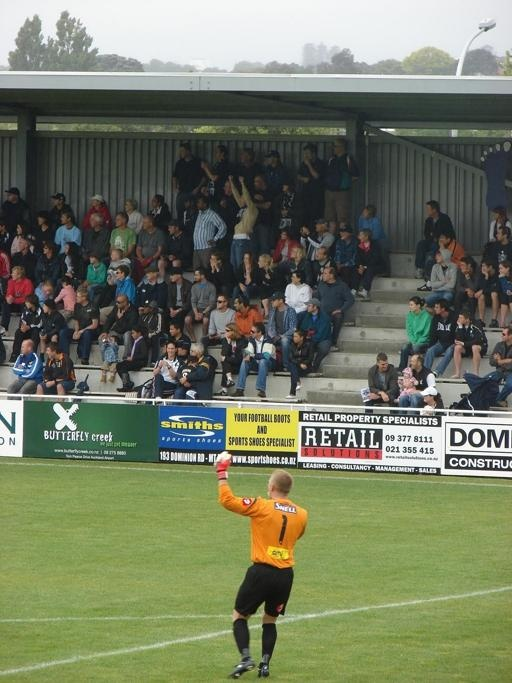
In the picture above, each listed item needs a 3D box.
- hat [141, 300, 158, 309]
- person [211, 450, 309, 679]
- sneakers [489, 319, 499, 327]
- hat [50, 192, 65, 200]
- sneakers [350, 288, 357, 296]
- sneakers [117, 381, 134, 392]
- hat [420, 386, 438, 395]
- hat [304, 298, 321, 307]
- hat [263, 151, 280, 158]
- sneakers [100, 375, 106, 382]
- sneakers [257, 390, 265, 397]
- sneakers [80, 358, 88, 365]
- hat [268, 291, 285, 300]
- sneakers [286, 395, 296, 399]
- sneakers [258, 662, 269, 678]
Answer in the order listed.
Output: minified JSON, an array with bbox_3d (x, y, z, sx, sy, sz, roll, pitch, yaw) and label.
[{"bbox_3d":[-1.810,-0.649,28.563,0.158,0.082,0.222,6,2,-34],"label":"hat"},{"bbox_3d":[0.059,1.993,14.890,0.805,1.958,0.550,0,9,0],"label":"person"},{"bbox_3d":[4.083,-0.315,27.911,0.139,0.165,0.093,3,1,9],"label":"sneakers"},{"bbox_3d":[-3.846,-2.783,31.807,0.285,0.174,0.228,8,-1,-4],"label":"hat"},{"bbox_3d":[1.789,-0.878,29.341,0.089,0.148,0.039,-6,-2,2],"label":"sneakers"},{"bbox_3d":[-2.194,0.748,28.147,0.157,0.178,0.466,-6,12,-33],"label":"sneakers"},{"bbox_3d":[2.699,0.728,25.327,0.246,0.156,0.316,1,10,2],"label":"hat"},{"bbox_3d":[0.993,-0.646,27.823,0.229,0.186,0.322,1,10,1],"label":"hat"},{"bbox_3d":[0.318,-3.366,30.050,0.267,0.171,0.212,0,1,2],"label":"hat"},{"bbox_3d":[-2.625,0.603,28.476,0.078,0.173,0.121,-2,10,-17],"label":"sneakers"},{"bbox_3d":[0.115,0.835,27.327,0.123,0.148,0.071,5,-2,-3],"label":"sneakers"},{"bbox_3d":[-2.995,0.310,28.834,0.100,0.125,0.101,7,-9,-39],"label":"sneakers"},{"bbox_3d":[0.388,-0.778,27.815,0.173,0.119,0.138,-2,1,3],"label":"hat"},{"bbox_3d":[0.606,0.880,27.372,0.145,0.072,0.059,2,-1,7],"label":"sneakers"},{"bbox_3d":[0.085,2.903,14.954,0.082,0.153,0.059,-2,-3,10],"label":"sneakers"}]
